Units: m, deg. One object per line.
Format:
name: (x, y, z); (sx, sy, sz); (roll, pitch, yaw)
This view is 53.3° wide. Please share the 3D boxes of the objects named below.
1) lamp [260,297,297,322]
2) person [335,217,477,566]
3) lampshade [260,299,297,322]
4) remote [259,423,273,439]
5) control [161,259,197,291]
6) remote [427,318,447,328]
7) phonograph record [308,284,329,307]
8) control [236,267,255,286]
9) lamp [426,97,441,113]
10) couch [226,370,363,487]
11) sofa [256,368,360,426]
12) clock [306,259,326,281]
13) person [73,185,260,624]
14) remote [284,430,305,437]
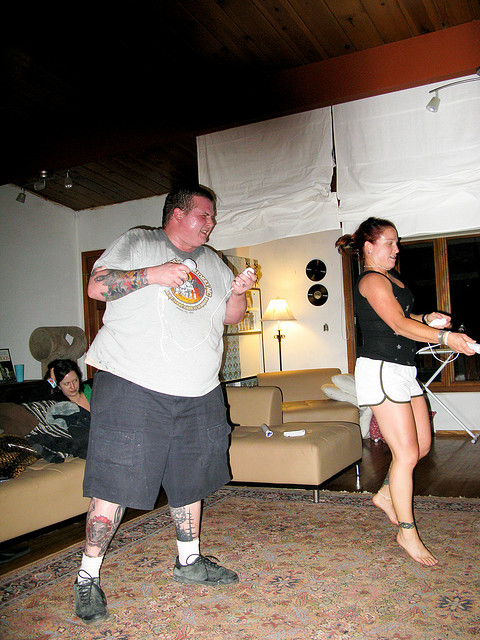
lamp: (0.474, -0.137, 6.083); (0.351, 0.197, 0.331); (0, 1, 11)
person: (0.618, 0.216, 1.794); (0.395, 1.367, 0.695); (-5, -8, 11)
lampshade: (0.476, -0.117, 6.012); (0.336, 0.197, 0.313); (0, -2, -1)
remote: (0.167, 0.701, 2.999); (0.059, 0.041, 0.165); (14, -3, 11)
control: (-0.181, -0.150, 1.409); (0.104, 0.099, 0.186); (-2, -7, -8)
remote: (0.717, 0.012, 1.771); (0.049, 0.032, 0.085); (-2, -7, -9)
phonograph record: (0.985, -0.312, 5.993); (0.267, 0.281, 0.051); (-9, -10, 37)
control: (0.020, -0.149, 1.606); (0.048, 0.063, 0.020); (41, 14, 34)
lamp: (0.941, -1.053, 2.325); (0.055, 0.091, 0.029); (27, -20, 29)
couch: (0.315, 0.474, 3.050); (0.656, 0.522, 1.270); (-3, -2, 16)
sofa: (0.657, 0.725, 4.573); (0.687, 0.419, 0.447); (-2, -5, -6)
clock: (0.961, -0.634, 6.016); (0.255, 0.272, 0.047); (-11, -11, 43)
person: (-0.199, 0.217, 1.542); (0.570, 1.390, 0.529); (2, -10, -33)
remote: (0.332, 0.691, 2.907); (0.122, 0.032, 0.087); (-3, -7, 3)
